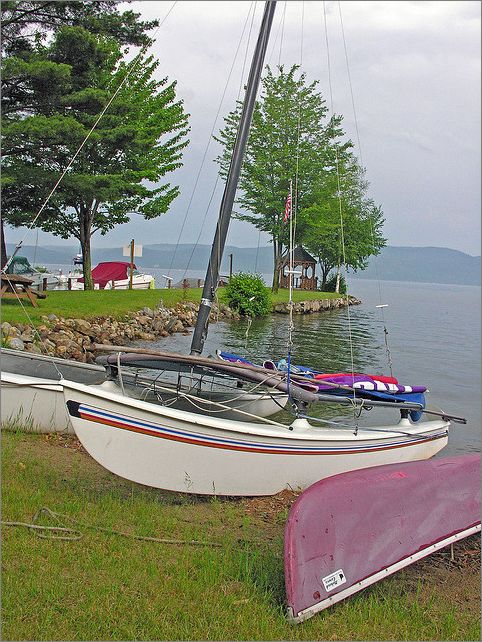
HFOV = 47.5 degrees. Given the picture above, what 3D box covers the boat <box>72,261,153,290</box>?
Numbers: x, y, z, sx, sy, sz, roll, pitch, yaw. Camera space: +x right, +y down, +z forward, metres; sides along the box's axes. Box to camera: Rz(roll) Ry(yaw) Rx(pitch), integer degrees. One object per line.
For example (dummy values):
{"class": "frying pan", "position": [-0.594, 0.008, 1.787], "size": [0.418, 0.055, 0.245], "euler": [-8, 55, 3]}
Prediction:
{"class": "boat", "position": [-8.106, -2.866, 35.760], "size": [2.298, 1.489, 4.979], "euler": [3, 3, 39]}
